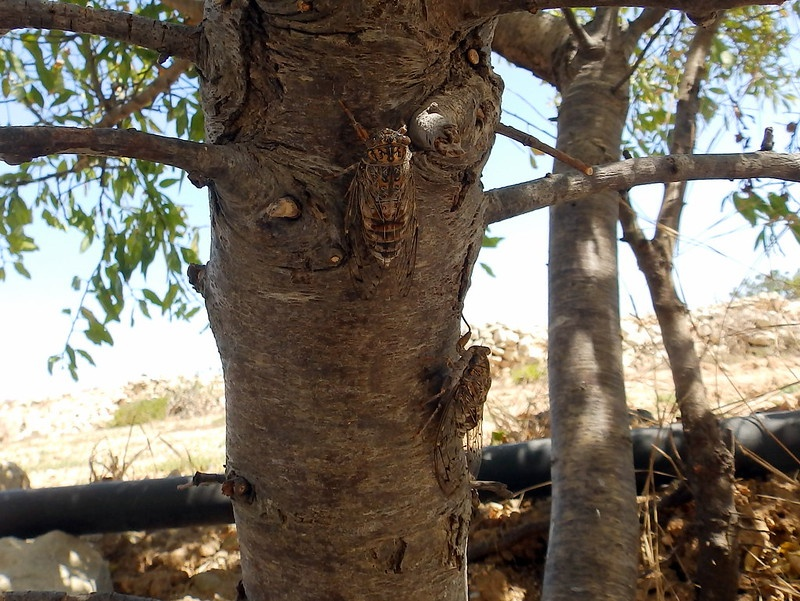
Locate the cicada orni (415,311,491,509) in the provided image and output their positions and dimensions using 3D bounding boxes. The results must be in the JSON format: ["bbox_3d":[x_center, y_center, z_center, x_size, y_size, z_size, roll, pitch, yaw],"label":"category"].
[{"bbox_3d":[0.283,0.550,5.034,0.419,0.788,0.252,7,-7,-14],"label":"cicada orni"}]
